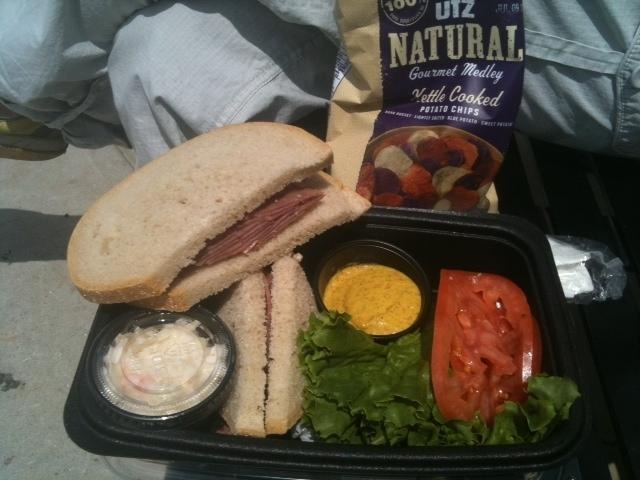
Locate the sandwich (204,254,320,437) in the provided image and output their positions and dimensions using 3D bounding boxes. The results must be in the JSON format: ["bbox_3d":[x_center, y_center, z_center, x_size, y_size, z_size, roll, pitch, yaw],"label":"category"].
[{"bbox_3d":[-0.179,0.357,1.933,0.335,0.156,0.524,-12,65,5],"label":"sandwich"}]

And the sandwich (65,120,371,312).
[{"bbox_3d":[-0.393,-0.106,2.057,0.978,0.335,0.551,-32,72,-5],"label":"sandwich"}]

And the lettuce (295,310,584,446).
[{"bbox_3d":[0.310,0.512,1.818,0.868,0.139,0.426,18,75,11],"label":"lettuce"}]
